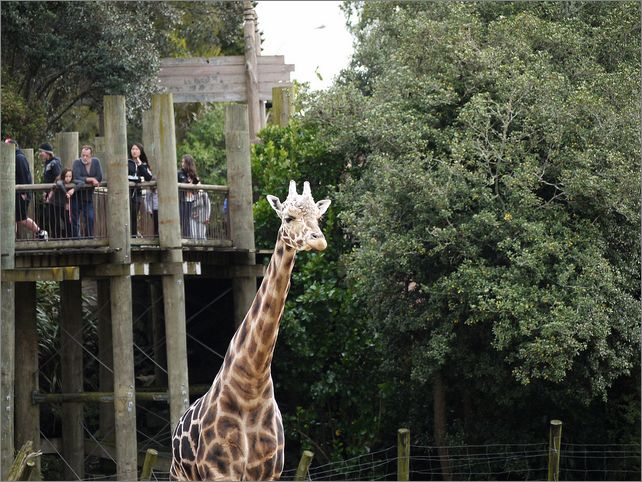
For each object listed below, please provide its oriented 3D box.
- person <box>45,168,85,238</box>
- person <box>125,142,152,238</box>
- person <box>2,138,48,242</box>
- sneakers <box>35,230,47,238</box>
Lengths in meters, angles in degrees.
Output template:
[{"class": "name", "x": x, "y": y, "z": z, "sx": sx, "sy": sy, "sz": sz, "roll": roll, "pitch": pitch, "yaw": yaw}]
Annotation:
[{"class": "person", "x": -5.289, "y": -0.725, "z": 26.970, "sx": 0.764, "sy": 1.433, "sz": 0.798, "roll": 0, "pitch": -3, "yaw": -2}, {"class": "person", "x": -3.822, "y": -0.993, "z": 27.351, "sx": 0.486, "sy": 1.982, "sz": 0.769, "roll": 0, "pitch": -3, "yaw": -9}, {"class": "person", "x": -6.151, "y": -0.998, "z": 27.178, "sx": 0.822, "sy": 2.017, "sz": 1.324, "roll": 1, "pitch": -3, "yaw": -14}, {"class": "sneakers", "x": -5.786, "y": -0.096, "z": 26.950, "sx": 0.247, "sy": 0.158, "sz": 0.171, "roll": -4, "pitch": -15, "yaw": 11}]
